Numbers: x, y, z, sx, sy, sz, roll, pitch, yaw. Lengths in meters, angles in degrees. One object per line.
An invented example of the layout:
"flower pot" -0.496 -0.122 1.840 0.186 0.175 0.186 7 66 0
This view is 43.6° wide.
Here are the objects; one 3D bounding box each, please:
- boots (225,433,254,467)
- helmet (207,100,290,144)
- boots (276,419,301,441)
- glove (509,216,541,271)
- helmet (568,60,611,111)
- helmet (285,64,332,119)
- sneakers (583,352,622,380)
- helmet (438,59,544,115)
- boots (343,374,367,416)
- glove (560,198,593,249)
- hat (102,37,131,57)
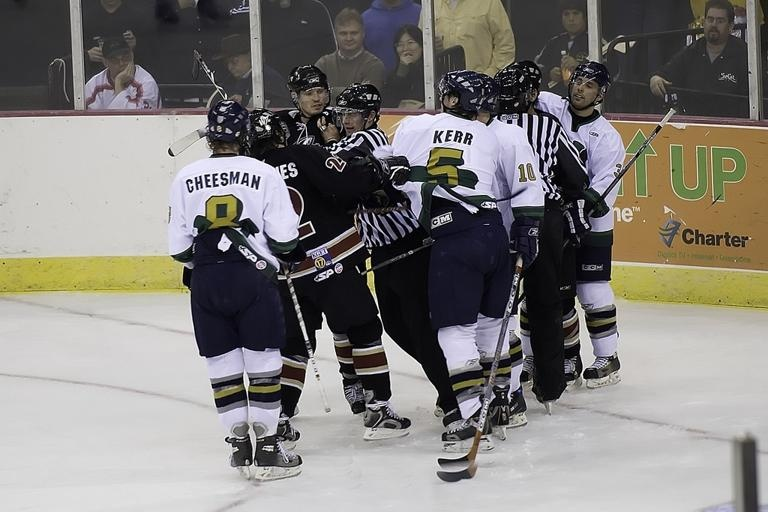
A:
"boots" -0.766 1.059 5.255 0.194 0.163 0.140 0 1 -18
"helmet" -0.770 -0.750 5.350 0.223 0.262 0.515 5 16 26
"boots" -0.558 1.012 5.578 0.071 0.086 0.197 -7 -31 10
"glove" 0.792 -0.086 5.550 0.109 0.270 0.176 6 3 41
"helmet" 1.370 -1.143 6.428 0.246 0.315 0.159 0 15 7
"helmet" -0.542 -1.102 6.187 0.262 0.316 0.318 -14 44 -13
"sneakers" 1.472 0.750 6.491 0.278 0.134 0.136 -7 15 -22
"helmet" 0.644 -0.969 5.618 0.581 0.216 0.348 -3 24 -13
"boots" -0.187 0.885 6.115 0.109 0.271 0.121 -14 -11 -8
"glove" 1.230 -0.198 6.106 0.189 0.271 0.077 -9 10 1
"hat" -2.495 -1.971 9.065 0.189 0.238 0.241 -5 38 -6
